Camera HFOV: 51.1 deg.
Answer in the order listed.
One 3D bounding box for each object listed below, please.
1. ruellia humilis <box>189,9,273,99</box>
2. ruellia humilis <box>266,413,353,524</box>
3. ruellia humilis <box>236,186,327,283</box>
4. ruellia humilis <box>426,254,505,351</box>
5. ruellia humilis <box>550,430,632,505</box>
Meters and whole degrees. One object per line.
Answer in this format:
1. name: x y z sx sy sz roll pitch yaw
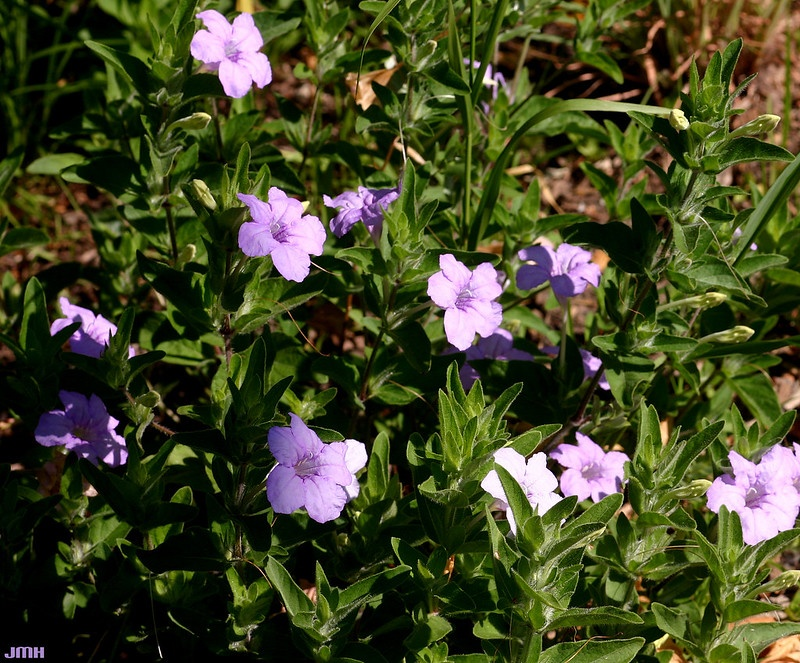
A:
1. ruellia humilis: -0.575 -0.949 2.850 0.257 0.139 0.327 30 38 1
2. ruellia humilis: -0.275 0.420 2.464 0.258 0.078 0.318 -19 93 -46
3. ruellia humilis: -0.397 -0.276 2.688 0.264 0.088 0.287 23 46 -40
4. ruellia humilis: 0.217 -0.102 2.808 0.312 0.189 0.236 -1 45 -33
5. ruellia humilis: 0.689 0.505 3.045 0.219 0.088 0.289 0 62 -29
